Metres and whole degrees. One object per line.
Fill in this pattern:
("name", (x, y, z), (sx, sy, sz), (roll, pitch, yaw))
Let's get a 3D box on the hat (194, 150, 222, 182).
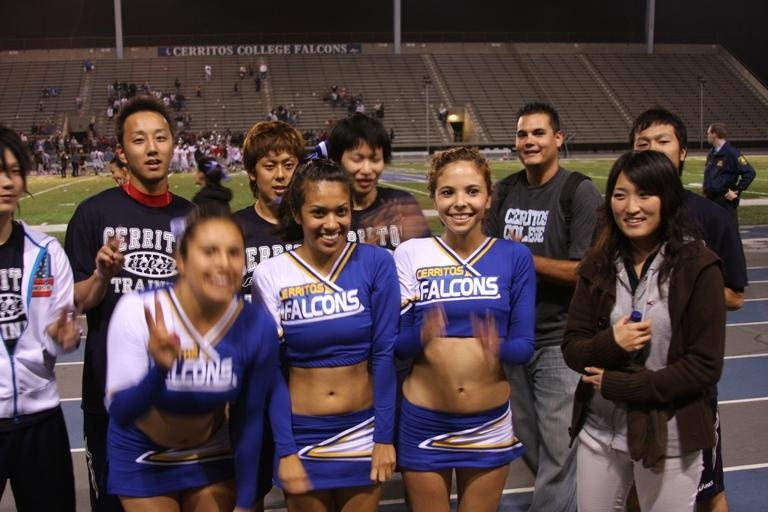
("hat", (-1.055, -0.541, 3.789), (0.162, 0.147, 0.185), (1, 14, -21))
